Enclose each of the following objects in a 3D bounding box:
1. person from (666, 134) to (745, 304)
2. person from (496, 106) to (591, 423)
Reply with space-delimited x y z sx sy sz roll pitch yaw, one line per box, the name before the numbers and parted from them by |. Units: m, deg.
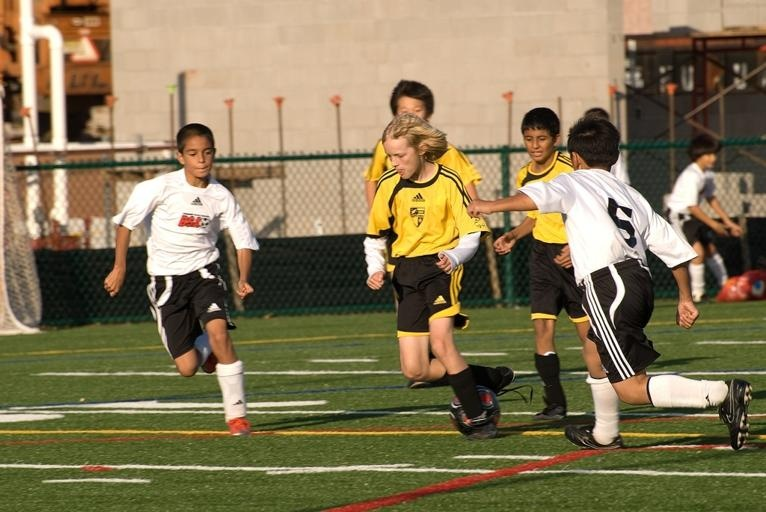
person | 4.571 -0.531 19.769 1.316 2.306 0.921 -11 12 -14
person | 1.651 0.125 13.770 1.435 3.164 1.039 -5 0 9
